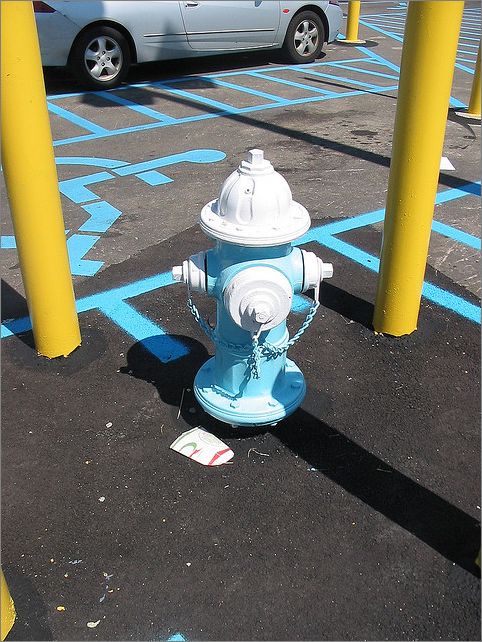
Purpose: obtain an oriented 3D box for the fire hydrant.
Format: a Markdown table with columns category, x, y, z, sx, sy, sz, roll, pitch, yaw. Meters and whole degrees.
| category | x | y | z | sx | sy | sz | roll | pitch | yaw |
| --- | --- | --- | --- | --- | --- | --- | --- | --- | --- |
| fire hydrant | 0.045 | -0.111 | 2.581 | 0.561 | 1.352 | 0.545 | 25 | 39 | 34 |
